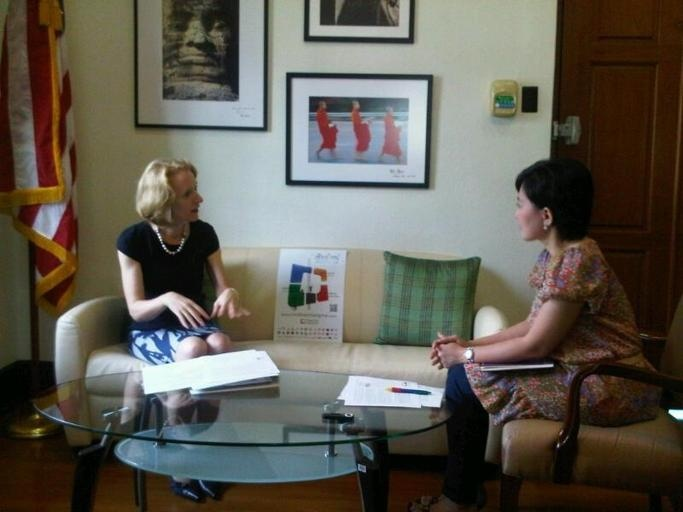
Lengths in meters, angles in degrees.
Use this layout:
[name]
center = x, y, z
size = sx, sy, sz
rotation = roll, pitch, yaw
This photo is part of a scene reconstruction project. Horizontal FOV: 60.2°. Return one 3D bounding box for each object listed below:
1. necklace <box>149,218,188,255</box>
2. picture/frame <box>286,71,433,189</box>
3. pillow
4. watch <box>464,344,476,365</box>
[necklace]
center = -0.852, -0.089, 2.874
size = 0.122, 0.173, 0.028
rotation = -28, 11, -32
[picture/frame]
center = 0.125, -0.752, 3.373
size = 0.578, 0.512, 0.026
rotation = 1, 6, -3
[pillow]
center = 0.441, 0.241, 3.083
size = 0.394, 0.439, 0.142
rotation = 4, -12, 8
[watch]
center = 0.504, 0.390, 2.314
size = 0.035, 0.061, 0.056
rotation = 3, -21, 20
